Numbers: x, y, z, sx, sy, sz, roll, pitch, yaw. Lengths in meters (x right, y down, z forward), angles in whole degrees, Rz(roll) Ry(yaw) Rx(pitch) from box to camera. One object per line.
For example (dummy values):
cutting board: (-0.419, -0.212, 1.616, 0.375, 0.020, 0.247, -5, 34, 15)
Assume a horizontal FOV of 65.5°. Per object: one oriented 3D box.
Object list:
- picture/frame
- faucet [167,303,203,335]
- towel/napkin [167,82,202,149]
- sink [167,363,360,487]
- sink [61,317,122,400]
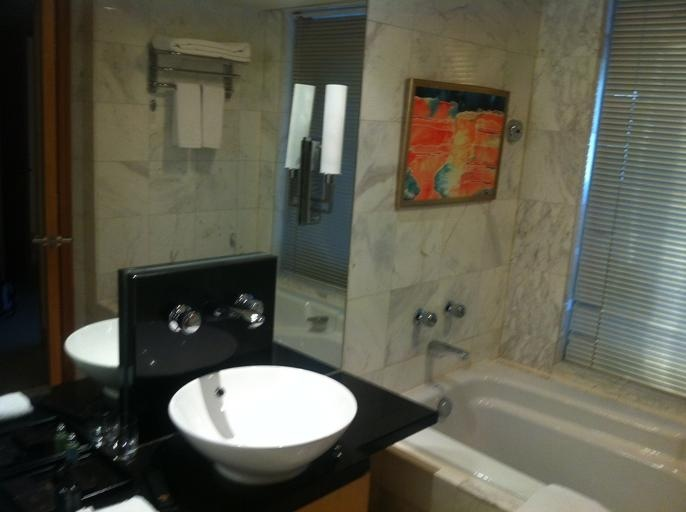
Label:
picture/frame: (0.609, -0.605, 2.880, 0.875, 0.636, 0.034, -9, 21, -41)
faucet: (-0.567, 0.225, 1.933, 0.097, 0.112, 0.088, 30, -7, -10)
towel/napkin: (-0.551, -0.500, 1.925, 0.092, 0.229, 0.025, -3, -1, 3)
sink: (-0.265, 0.569, 1.776, 0.580, 0.211, 0.507, 11, 16, 22)
sink: (-0.860, 0.336, 1.822, 0.223, 0.129, 0.222, -6, 25, -41)
